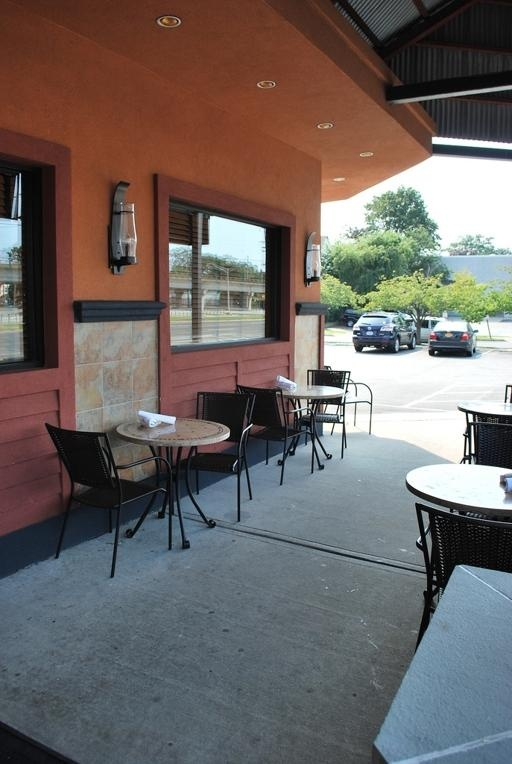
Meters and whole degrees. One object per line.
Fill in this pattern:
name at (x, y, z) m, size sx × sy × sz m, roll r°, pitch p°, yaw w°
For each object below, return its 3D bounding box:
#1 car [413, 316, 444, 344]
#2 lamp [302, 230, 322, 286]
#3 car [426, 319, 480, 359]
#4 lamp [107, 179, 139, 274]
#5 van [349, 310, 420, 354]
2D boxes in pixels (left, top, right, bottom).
car at (7.881, -2.413, 26.379) m, size 0.961 × 0.964 × 1.755 m, roll 5°, pitch 18°, yaw 26°
lamp at (0.731, -1.537, 7.257) m, size 0.204 × 0.661 × 0.191 m, roll -4°, pitch 7°, yaw -43°
car at (6.808, -1.493, 19.886) m, size 0.912 × 0.754 × 2.172 m, roll 3°, pitch 14°, yaw 23°
lamp at (-0.920, -1.059, 4.017) m, size 0.187 × 0.616 × 0.163 m, roll 0°, pitch 5°, yaw -3°
van at (4.837, -1.889, 21.323) m, size 1.251 × 1.005 × 2.767 m, roll 3°, pitch 13°, yaw 29°
